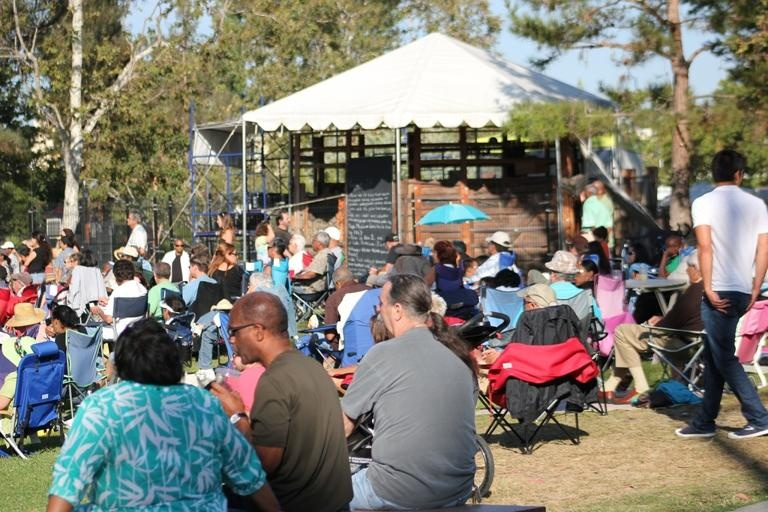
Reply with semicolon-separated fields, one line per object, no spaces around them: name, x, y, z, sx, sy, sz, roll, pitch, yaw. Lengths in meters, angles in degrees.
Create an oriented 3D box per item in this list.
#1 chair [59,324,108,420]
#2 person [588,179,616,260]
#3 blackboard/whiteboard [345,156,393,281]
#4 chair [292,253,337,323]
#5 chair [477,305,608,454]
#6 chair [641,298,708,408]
chair;-4.833;1.785;19.202;0.882;1.484;0.598;-8;18;-5
person;4.600;-0.851;24.697;0.570;1.797;0.613;0;-6;5
blackboard/whiteboard;-0.314;-1.114;28.180;0.881;3.295;0.781;7;10;42
chair;-1.479;0.764;24.934;1.203;1.852;0.827;5;-6;-3
chair;2.416;1.955;17.958;0.862;1.897;2.642;-5;-8;-8
chair;4.977;1.587;19.770;1.326;2.075;1.694;0;-2;11
